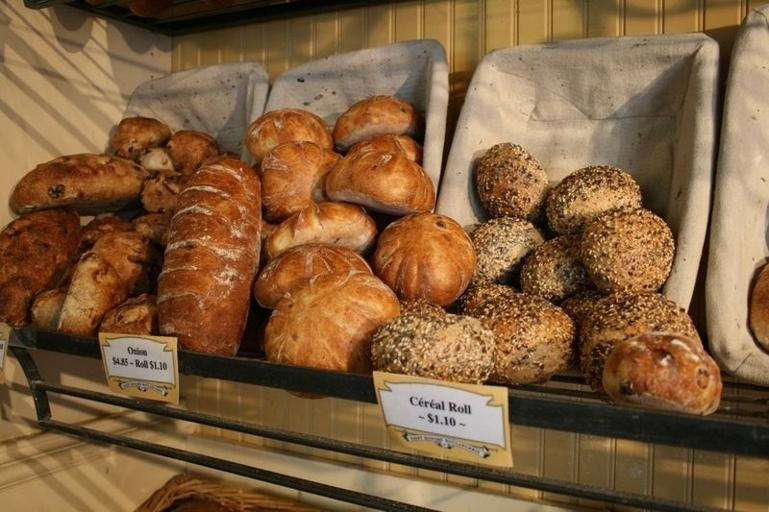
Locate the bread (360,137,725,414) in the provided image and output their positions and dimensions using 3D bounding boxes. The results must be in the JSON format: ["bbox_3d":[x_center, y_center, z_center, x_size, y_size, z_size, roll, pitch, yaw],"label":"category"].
[{"bbox_3d":[0.425,0.035,1.665,0.516,0.221,0.615,3,46,13],"label":"bread"}]
